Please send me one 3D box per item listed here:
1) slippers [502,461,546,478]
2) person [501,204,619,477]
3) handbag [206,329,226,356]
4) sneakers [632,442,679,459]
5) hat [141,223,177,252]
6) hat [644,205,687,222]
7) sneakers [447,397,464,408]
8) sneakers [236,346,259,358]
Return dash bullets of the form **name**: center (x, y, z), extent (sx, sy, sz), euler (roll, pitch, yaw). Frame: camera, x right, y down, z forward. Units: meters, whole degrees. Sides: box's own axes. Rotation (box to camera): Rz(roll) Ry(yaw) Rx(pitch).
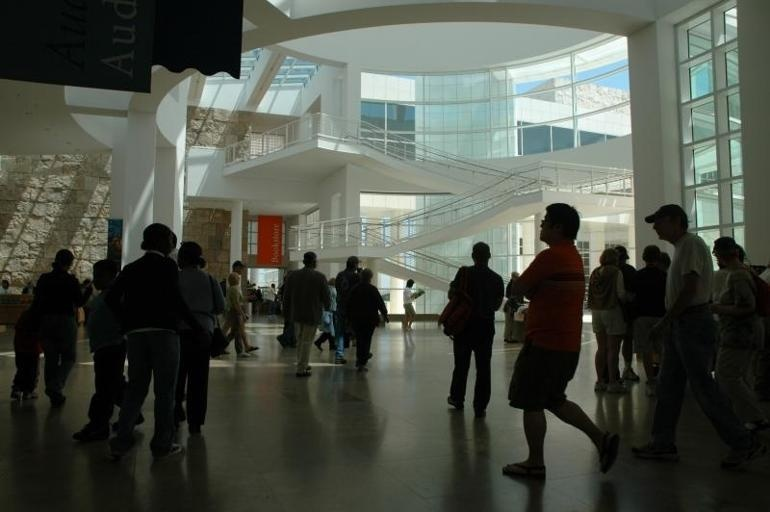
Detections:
- **slippers**: center (1.379, 2.128, 6.496), extent (0.348, 0.096, 0.164), euler (3, -2, 17)
- **person**: center (1.728, 0.826, 6.544), extent (1.058, 2.699, 0.613), euler (1, 2, 9)
- **handbag**: center (-2.009, 1.038, 7.740), extent (0.193, 0.218, 0.306), euler (8, -44, -11)
- **sneakers**: center (2.823, 2.039, 6.871), extent (0.484, 0.218, 0.169), euler (2, -7, 18)
- **hat**: center (-2.428, -0.188, 7.052), extent (0.348, 0.321, 0.321), euler (-1, 3, -27)
- **hat**: center (2.985, -0.436, 6.973), extent (0.358, 0.169, 0.233), euler (-2, -9, 9)
- **sneakers**: center (0.938, 1.971, 8.761), extent (0.116, 0.162, 0.237), euler (4, -17, -16)
- **sneakers**: center (-2.855, 1.986, 13.534), extent (0.186, 0.236, 0.585), euler (7, -23, -34)
